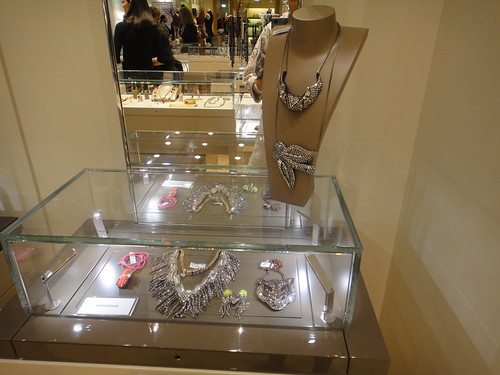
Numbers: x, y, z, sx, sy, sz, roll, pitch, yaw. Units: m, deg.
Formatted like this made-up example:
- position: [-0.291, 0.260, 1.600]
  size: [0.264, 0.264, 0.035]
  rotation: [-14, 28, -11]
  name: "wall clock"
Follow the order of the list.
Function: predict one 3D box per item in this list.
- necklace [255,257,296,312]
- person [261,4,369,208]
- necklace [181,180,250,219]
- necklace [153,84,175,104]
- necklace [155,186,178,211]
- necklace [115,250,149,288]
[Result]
- position: [0.122, 0.444, 1.584]
  size: [0.187, 0.134, 0.190]
  rotation: [3, 28, 6]
  name: "necklace"
- position: [0.264, -0.350, 1.564]
  size: [0.428, 0.811, 0.285]
  rotation: [9, 28, 18]
  name: "person"
- position: [-0.186, 0.076, 1.848]
  size: [0.195, 0.040, 0.216]
  rotation: [7, 47, 12]
  name: "necklace"
- position: [-0.512, -0.554, 2.031]
  size: [0.081, 0.131, 0.048]
  rotation: [3, 9, -2]
  name: "necklace"
- position: [-0.448, 0.061, 1.856]
  size: [0.100, 0.052, 0.129]
  rotation: [-5, 29, -8]
  name: "necklace"
- position: [-0.581, 0.401, 1.696]
  size: [0.108, 0.066, 0.180]
  rotation: [25, 59, 5]
  name: "necklace"
